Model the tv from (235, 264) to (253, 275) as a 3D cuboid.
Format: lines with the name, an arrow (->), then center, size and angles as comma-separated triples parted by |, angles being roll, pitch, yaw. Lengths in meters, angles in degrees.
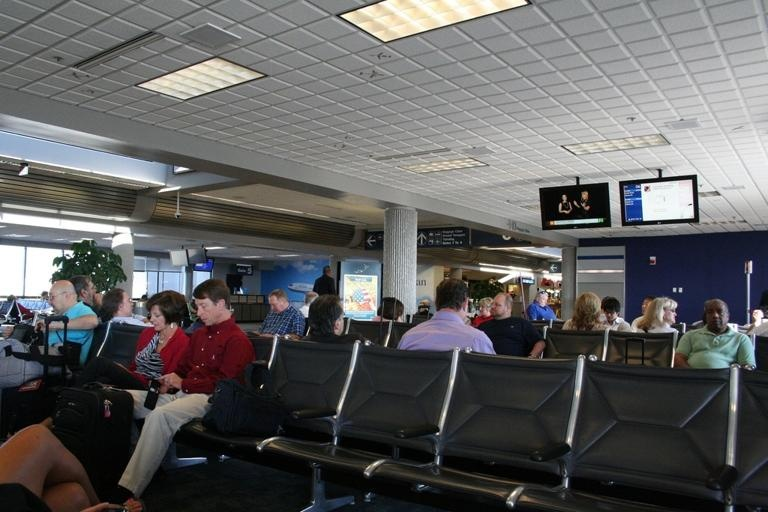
tv -> -7.776, 0.734, 29.582 | 0.676, 0.546, 1.202 | -7, -8, 39

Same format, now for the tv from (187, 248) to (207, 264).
tv -> -4.610, -0.001, 13.243 | 0.556, 0.316, 0.258 | 3, 6, 27

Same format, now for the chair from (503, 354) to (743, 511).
chair -> 1.470, 1.060, 3.472 | 1.394, 0.891, 1.089 | 0, -4, 36

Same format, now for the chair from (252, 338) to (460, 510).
chair -> 0.103, 1.211, 4.293 | 1.357, 1.178, 1.632 | -2, -6, 43

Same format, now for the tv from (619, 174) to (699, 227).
tv -> 4.915, -0.984, 9.567 | 0.180, 0.846, 1.572 | -8, 5, -27

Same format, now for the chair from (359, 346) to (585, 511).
chair -> 0.685, 0.956, 3.520 | 1.204, 0.640, 1.192 | -2, -4, 40

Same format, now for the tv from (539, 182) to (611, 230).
tv -> 3.536, -0.934, 10.077 | 1.757, 0.820, 0.155 | -6, 8, -26
